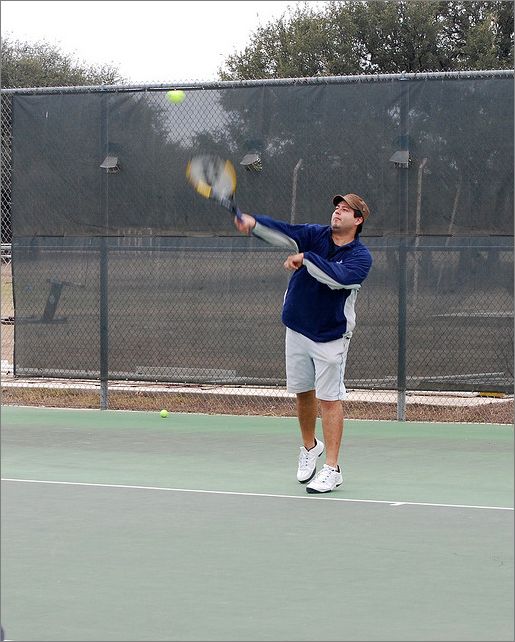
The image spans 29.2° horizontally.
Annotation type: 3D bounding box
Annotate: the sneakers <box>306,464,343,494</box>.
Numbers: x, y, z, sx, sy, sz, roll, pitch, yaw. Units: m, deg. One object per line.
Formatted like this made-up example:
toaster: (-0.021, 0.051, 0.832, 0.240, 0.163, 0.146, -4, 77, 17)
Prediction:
sneakers: (0.338, 0.811, 5.008, 0.080, 0.118, 0.257, 2, -3, 26)

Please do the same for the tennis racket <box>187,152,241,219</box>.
tennis racket: (-0.210, -0.679, 5.051, 0.193, 0.355, 0.332, -1, 2, -31)

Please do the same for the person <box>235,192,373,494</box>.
person: (0.298, 0.122, 5.098, 0.645, 1.529, 0.596, -1, 2, -36)

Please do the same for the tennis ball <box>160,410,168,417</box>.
tennis ball: (-0.733, 0.742, 7.741, 0.047, 0.049, 0.047, 37, -6, 5)
